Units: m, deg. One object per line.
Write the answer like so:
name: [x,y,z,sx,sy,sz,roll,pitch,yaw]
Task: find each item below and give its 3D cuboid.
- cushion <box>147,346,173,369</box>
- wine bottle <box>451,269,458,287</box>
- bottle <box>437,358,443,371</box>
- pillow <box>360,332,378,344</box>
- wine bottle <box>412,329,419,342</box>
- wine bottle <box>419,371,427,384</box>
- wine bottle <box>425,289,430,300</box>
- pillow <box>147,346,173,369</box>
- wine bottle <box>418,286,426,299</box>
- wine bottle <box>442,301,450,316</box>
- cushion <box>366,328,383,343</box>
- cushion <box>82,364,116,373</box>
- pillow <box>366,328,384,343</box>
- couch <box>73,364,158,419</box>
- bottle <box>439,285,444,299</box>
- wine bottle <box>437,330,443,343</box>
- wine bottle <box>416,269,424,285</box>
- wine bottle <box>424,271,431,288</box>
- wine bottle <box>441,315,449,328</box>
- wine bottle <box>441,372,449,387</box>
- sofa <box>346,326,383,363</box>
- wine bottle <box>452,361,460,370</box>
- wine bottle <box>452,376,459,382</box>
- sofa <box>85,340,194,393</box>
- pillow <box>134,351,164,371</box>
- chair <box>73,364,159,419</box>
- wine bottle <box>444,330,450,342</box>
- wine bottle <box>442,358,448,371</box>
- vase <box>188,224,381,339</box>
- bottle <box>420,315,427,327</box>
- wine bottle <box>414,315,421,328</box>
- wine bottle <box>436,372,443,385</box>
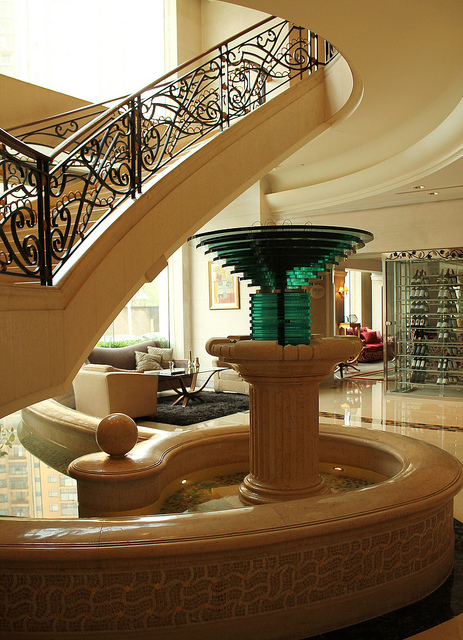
cushion: [-1.385,0.736,9.962,0.344,0.343,0.134,-8,-23,9]
wine bottle: [3.522,-0.679,8.149,0.054,0.259,0.096,-1,-5,-16]
bottle: [3.399,0.722,8.386,0.049,0.192,0.102,0,-5,-27]
pillow: [4.218,0.514,15.724,0.457,0.407,0.131,5,-6,-37]
wine bottle: [3.124,0.266,8.732,0.115,0.155,0.052,-10,7,-29]
wine bottle: [3.195,0.966,8.591,0.016,0.189,0.138,2,-6,-43]
wine bottle: [3.238,-0.432,8.524,0.030,0.154,0.086,2,-6,-41]
pillow: [-1.391,0.731,9.977,0.457,0.187,0.494,-6,28,-11]
wine bottle: [3.170,-0.465,8.584,0.034,0.193,0.136,0,-5,-28]
wine bottle: [3.469,-0.193,8.345,0.034,0.197,0.132,0,-5,-26]
cushion: [4.430,0.475,15.968,0.192,0.593,0.614,0,0,-26]
cushion: [-1.727,0.623,6.683,0.247,0.057,0.178,6,-2,17]
pillow: [4.656,0.516,16.285,0.166,0.504,0.542,1,-1,-26]
couch: [-1.572,0.974,6.970,0.905,0.727,0.907,1,-3,38]
bottle: [3.401,-0.468,8.358,0.038,0.222,0.103,0,-5,-22]
wine bottle: [3.423,0.259,8.447,0.014,0.205,0.102,1,-5,-29]
wine bottle: [3.126,-0.727,8.562,0.036,0.229,0.157,1,-6,-37]
wine bottle: [3.218,-0.675,8.486,0.093,0.256,0.051,-5,-5,30]
wine bottle: [3.483,0.042,8.389,0.167,0.164,0.100,1,-2,7]
wine bottle: [3.440,0.937,8.291,0.108,0.191,0.014,-6,-6,40]
sofa: [3.886,0.696,15.029,0.829,1.066,2.335,-4,-5,21]
wine bottle: [3.579,0.704,8.239,0.090,0.102,0.029,-4,-5,27]
wine bottle: [3.564,0.936,8.194,0.082,0.090,0.010,-7,-6,44]
sofa: [-1.768,0.946,9.719,1.003,0.948,2.184,4,3,30]
pillow: [-1.549,0.799,9.841,0.585,0.486,0.288,10,-27,-20]
chair: [-1.529,0.908,6.944,0.875,0.746,0.868,1,2,42]
wine bottle: [3.494,0.256,8.374,0.021,0.184,0.089,2,-6,-38]
wine bottle: [3.450,0.717,8.328,0.095,0.191,0.044,-4,-5,21]
vase: [0.249,-0.273,2.910,0.805,0.404,0.786,0,-3,-2]
bottle: [3.219,0.014,8.640,0.050,0.154,0.109,9,-1,-11]
wine bottle: [3.147,0.012,8.696,0.106,0.168,0.057,12,3,-2]
wine bottle: [3.391,0.958,8.367,0.049,0.164,0.124,19,-9,-26]
